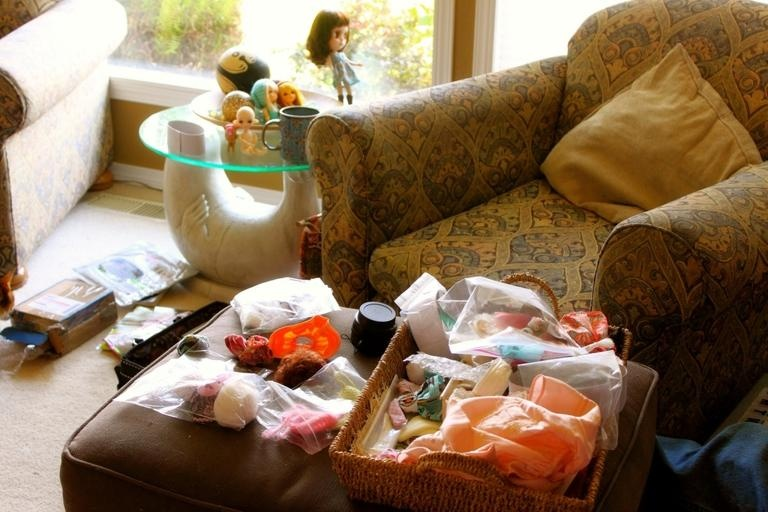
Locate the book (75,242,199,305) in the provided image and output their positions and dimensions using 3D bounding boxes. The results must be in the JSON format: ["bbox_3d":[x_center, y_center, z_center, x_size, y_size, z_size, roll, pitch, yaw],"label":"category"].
[{"bbox_3d":[-0.982,0.070,2.331,0.271,0.087,0.285,21,34,33],"label":"book"}]

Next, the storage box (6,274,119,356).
[{"bbox_3d":[-1.123,0.171,2.041,0.236,0.146,0.318,23,39,18],"label":"storage box"}]

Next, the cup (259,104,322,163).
[{"bbox_3d":[-0.316,-0.402,1.982,0.197,0.151,0.124,0,23,-6],"label":"cup"}]

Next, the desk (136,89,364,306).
[{"bbox_3d":[-0.515,-0.183,2.404,0.754,0.528,0.755,28,36,18],"label":"desk"}]
